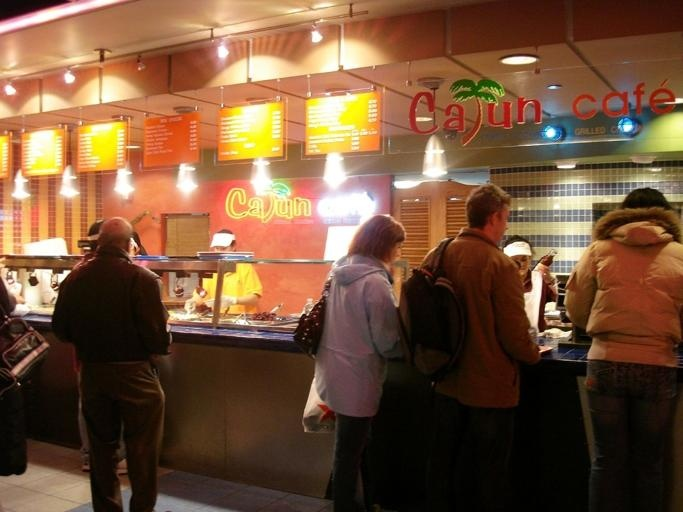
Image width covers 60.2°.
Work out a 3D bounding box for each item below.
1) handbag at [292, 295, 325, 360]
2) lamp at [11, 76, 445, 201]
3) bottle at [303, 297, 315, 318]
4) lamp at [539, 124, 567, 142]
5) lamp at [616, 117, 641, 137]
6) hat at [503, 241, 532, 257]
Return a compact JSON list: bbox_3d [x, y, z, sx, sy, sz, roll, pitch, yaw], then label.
[{"bbox_3d":[-0.191,0.415,3.535,0.255,0.315,0.315,8,15,-10],"label":"handbag"},{"bbox_3d":[-0.531,-1.150,6.711,4.145,0.869,2.662,1,0,27],"label":"lamp"},{"bbox_3d":[-0.221,0.353,4.036,0.079,0.164,0.059,-1,30,-15],"label":"bottle"},{"bbox_3d":[1.408,-0.817,3.929,0.138,0.127,0.051,10,0,40],"label":"lamp"},{"bbox_3d":[1.837,-0.827,3.784,0.076,0.116,0.122,0,28,-47],"label":"lamp"},{"bbox_3d":[1.248,-0.044,4.169,0.182,0.089,0.252,0,-2,10],"label":"hat"}]
